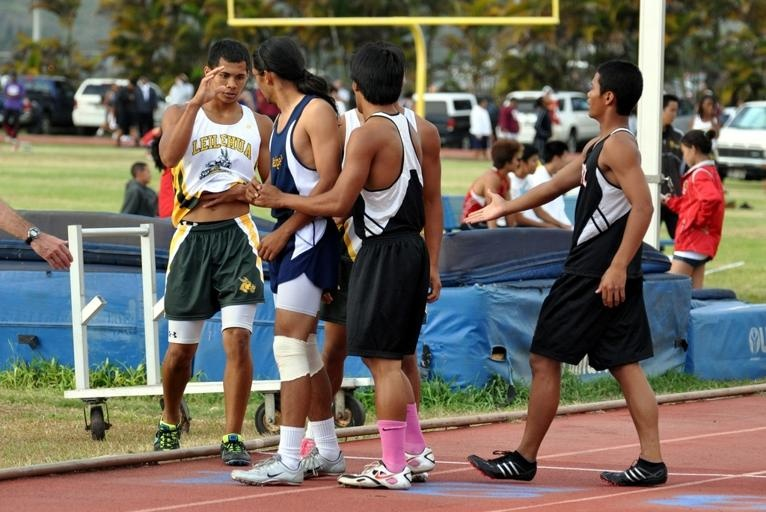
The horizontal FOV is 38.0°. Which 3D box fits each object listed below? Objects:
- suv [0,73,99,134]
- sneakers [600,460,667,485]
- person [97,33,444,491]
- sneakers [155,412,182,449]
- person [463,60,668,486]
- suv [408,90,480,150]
[{"bbox_3d":[-3.926,-1.742,13.053,0.791,0.767,1.766,2,10,12],"label":"suv"},{"bbox_3d":[1.627,1.382,7.133,0.423,0.205,0.158,3,-4,1],"label":"sneakers"},{"bbox_3d":[-0.763,-0.003,7.324,1.512,2.871,0.853,3,9,37],"label":"person"},{"bbox_3d":[-1.508,1.256,7.735,0.104,0.326,0.142,-3,24,-7],"label":"sneakers"},{"bbox_3d":[1.301,0.104,7.197,1.060,2.672,0.680,-1,7,10],"label":"person"},{"bbox_3d":[2.824,-4.563,38.249,1.614,1.816,3.421,7,13,42],"label":"suv"}]
